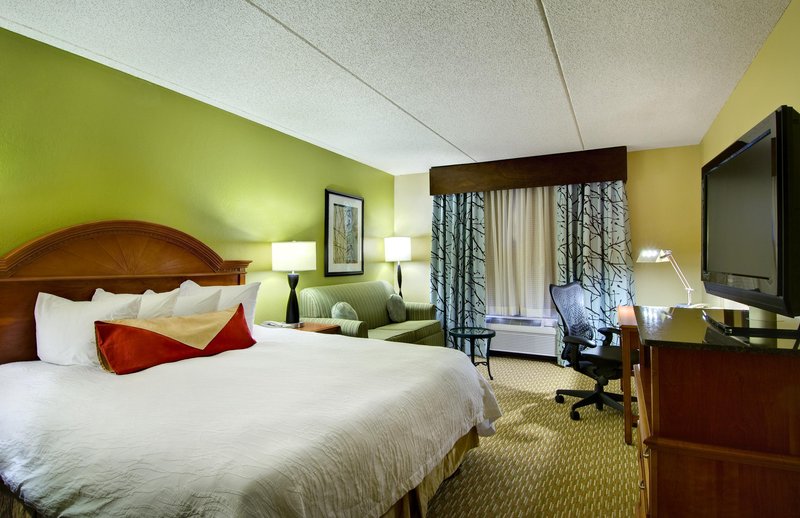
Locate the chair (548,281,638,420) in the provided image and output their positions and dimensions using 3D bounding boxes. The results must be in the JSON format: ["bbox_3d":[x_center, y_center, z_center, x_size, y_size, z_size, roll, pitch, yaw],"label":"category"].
[{"bbox_3d":[1.828,0.842,4.869,0.791,1.165,0.760,-3,3,-38],"label":"chair"}]

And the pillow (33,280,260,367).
[{"bbox_3d":[-1.912,0.482,3.936,1.364,0.556,0.514,1,-6,-35],"label":"pillow"}]

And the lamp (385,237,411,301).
[{"bbox_3d":[-0.017,0.145,7.199,0.368,0.872,0.346,-4,2,-11],"label":"lamp"}]

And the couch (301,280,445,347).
[{"bbox_3d":[-0.241,0.787,6.136,0.937,0.988,1.822,1,3,31],"label":"couch"}]

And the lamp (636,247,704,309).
[{"bbox_3d":[2.707,0.205,5.252,0.641,0.664,0.306,8,14,29],"label":"lamp"}]

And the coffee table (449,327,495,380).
[{"bbox_3d":[0.959,1.152,6.233,0.409,0.458,0.434,-3,-11,21],"label":"coffee table"}]

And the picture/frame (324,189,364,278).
[{"bbox_3d":[-0.711,-0.318,6.417,0.056,1.272,1.102,-2,-4,24],"label":"picture/frame"}]
